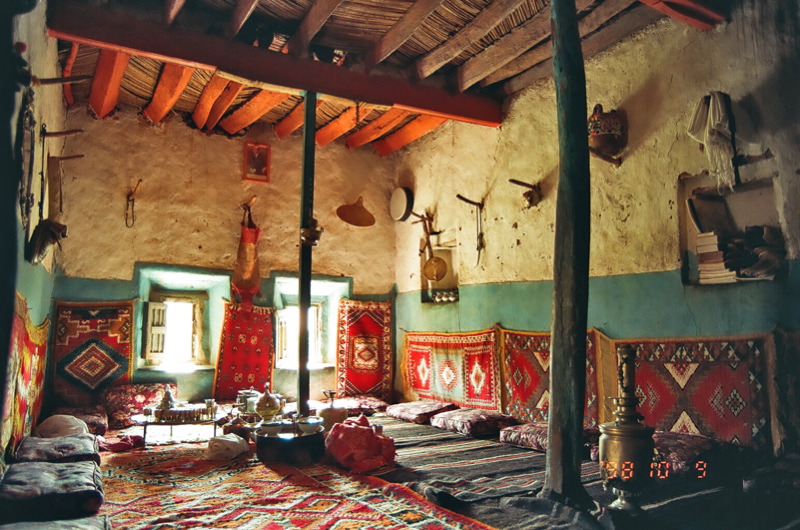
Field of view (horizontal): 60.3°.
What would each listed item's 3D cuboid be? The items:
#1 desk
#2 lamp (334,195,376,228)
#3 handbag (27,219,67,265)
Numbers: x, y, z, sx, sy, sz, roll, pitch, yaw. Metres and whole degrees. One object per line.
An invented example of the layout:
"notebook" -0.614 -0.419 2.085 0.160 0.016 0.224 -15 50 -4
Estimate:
"desk" -1.753 1.820 7.341 1.762 0.293 0.857 3 3 20
"lamp" -0.616 -0.765 10.169 0.482 0.475 0.228 -12 -39 -45
"handbag" -3.482 -0.218 6.741 0.261 0.646 0.201 -17 -49 8
